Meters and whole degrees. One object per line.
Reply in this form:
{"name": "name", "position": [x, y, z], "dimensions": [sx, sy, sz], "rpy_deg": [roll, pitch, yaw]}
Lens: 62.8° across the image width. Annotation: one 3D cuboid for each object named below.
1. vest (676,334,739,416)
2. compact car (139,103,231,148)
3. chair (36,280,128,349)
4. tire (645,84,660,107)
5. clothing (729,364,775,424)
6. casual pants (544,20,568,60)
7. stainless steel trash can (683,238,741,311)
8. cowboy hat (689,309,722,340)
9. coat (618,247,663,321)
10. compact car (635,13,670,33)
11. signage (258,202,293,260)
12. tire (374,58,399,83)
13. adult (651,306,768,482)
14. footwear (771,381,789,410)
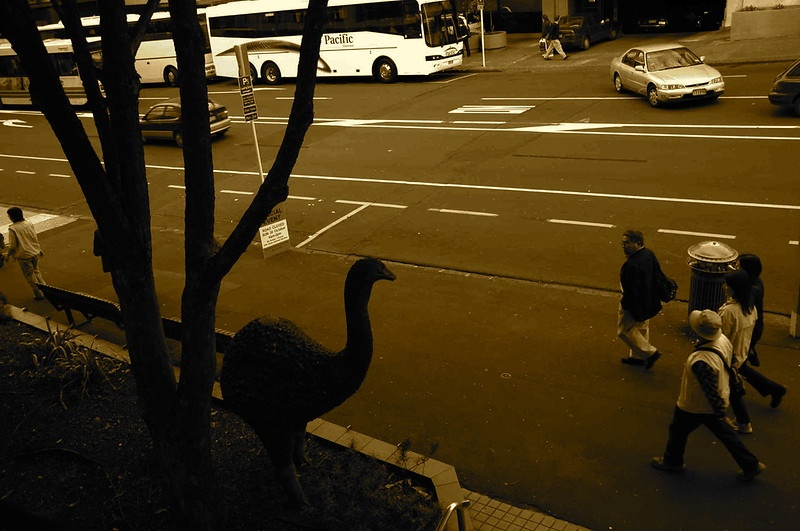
{"name": "vest", "position": [4.441, 1.536, 9.537], "dimensions": [0.601, 1.028, 0.993], "rpy_deg": [8, 22, 44]}
{"name": "compact car", "position": [-9.050, -5.721, 26.704], "dimensions": [3.781, 1.682, 1.592], "rpy_deg": [2, 22, 18]}
{"name": "chair", "position": [-6.654, 0.959, 13.819], "dimensions": [2.747, 1.012, 0.861], "rpy_deg": [14, 28, 40]}
{"name": "tire", "position": [9.231, -6.101, 23.771], "dimensions": [0.246, 0.762, 0.862], "rpy_deg": [-11, 22, -14]}
{"name": "clothing", "position": [5.334, 2.059, 10.229], "dimensions": [0.911, 0.981, 0.329], "rpy_deg": [-5, -1, -25]}
{"name": "casual pants", "position": [7.909, -11.451, 33.637], "dimensions": [1.440, 1.848, 0.875], "rpy_deg": [16, 31, 41]}
{"name": "stainless steel trash can", "position": [5.679, 0.308, 12.015], "dimensions": [0.826, 1.358, 0.872], "rpy_deg": [3, 17, 21]}
{"name": "cowboy hat", "position": [4.316, 0.874, 9.332], "dimensions": [0.394, 0.475, 0.150], "rpy_deg": [-22, -12, -12]}
{"name": "coat", "position": [4.171, 0.335, 11.265], "dimensions": [0.821, 1.191, 0.497], "rpy_deg": [-19, 24, -32]}
{"name": "compact car", "position": [14.876, -14.181, 38.716], "dimensions": [0.429, 1.015, 2.656], "rpy_deg": [-12, 23, -18]}
{"name": "signage", "position": [-2.913, -0.710, 15.088], "dimensions": [0.118, 1.307, 0.975], "rpy_deg": [28, 48, 33]}
{"name": "tire", "position": [-0.809, -10.044, 33.963], "dimensions": [1.419, 1.307, 0.514], "rpy_deg": [7, 23, 31]}
{"name": "adult", "position": [4.489, 1.908, 9.550], "dimensions": [1.545, 2.488, 0.992], "rpy_deg": [9, 19, 43]}
{"name": "footwear", "position": [6.009, 2.042, 10.407], "dimensions": [0.185, 0.562, 0.218], "rpy_deg": [2, 1, -23]}
